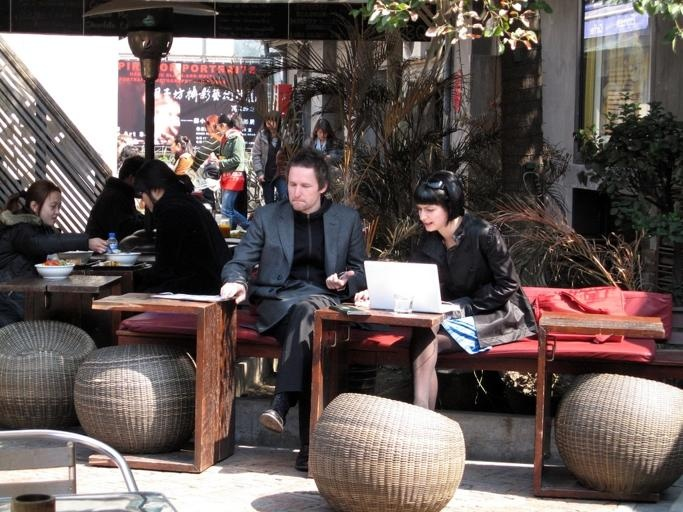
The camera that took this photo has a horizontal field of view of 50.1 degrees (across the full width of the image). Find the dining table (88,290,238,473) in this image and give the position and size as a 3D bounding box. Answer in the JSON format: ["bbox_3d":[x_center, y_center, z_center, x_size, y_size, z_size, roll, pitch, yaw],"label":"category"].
[{"bbox_3d":[-1.321,0.804,4.758,0.811,0.683,0.828,1,9,18],"label":"dining table"}]

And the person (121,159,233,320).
[{"bbox_3d":[-1.340,-0.195,5.562,0.800,1.038,0.825,-22,23,-38],"label":"person"}]

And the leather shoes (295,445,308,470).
[{"bbox_3d":[-0.234,1.221,4.414,0.078,0.136,0.116,-3,7,-7],"label":"leather shoes"}]

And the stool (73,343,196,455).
[{"bbox_3d":[-1.265,0.824,4.654,0.672,0.571,0.691,2,-3,3],"label":"stool"}]

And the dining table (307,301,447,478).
[{"bbox_3d":[0.260,0.755,4.607,0.909,1.250,0.833,0,1,10],"label":"dining table"}]

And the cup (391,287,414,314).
[{"bbox_3d":[0.350,0.256,4.091,0.106,0.122,0.110,-2,7,0],"label":"cup"}]

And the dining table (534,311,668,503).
[{"bbox_3d":[1.442,0.923,4.555,0.846,1.184,1.193,-1,-1,9],"label":"dining table"}]

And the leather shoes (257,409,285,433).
[{"bbox_3d":[-0.396,0.974,4.233,0.085,0.086,0.191,19,-27,19],"label":"leather shoes"}]
